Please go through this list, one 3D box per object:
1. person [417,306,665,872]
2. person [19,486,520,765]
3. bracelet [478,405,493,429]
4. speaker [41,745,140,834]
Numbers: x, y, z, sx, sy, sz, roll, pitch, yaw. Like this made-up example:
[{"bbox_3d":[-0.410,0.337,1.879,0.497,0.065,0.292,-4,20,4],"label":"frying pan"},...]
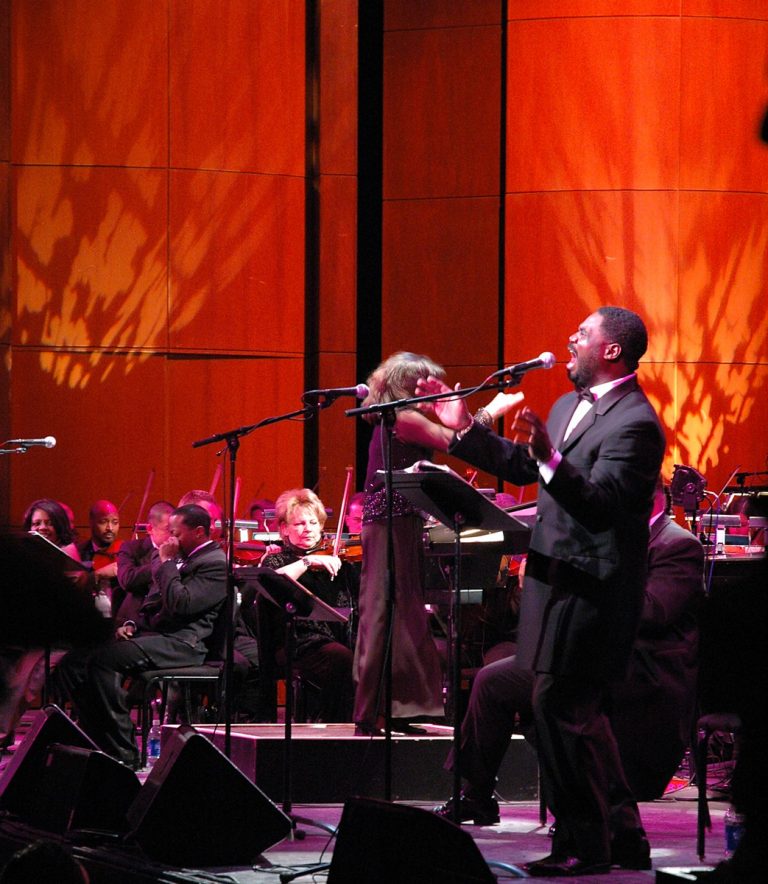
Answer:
[{"bbox_3d":[0.635,0.409,4.225,0.441,1.732,0.896,1,-20,6],"label":"person"},{"bbox_3d":[-0.432,0.800,5.792,1.389,0.920,0.649,-22,-11,-11],"label":"person"},{"bbox_3d":[0.335,-0.085,4.575,0.046,0.057,0.051,6,0,26],"label":"bracelet"},{"bbox_3d":[-0.894,1.064,4.226,0.228,0.321,0.277,-3,-2,-41],"label":"speaker"}]
